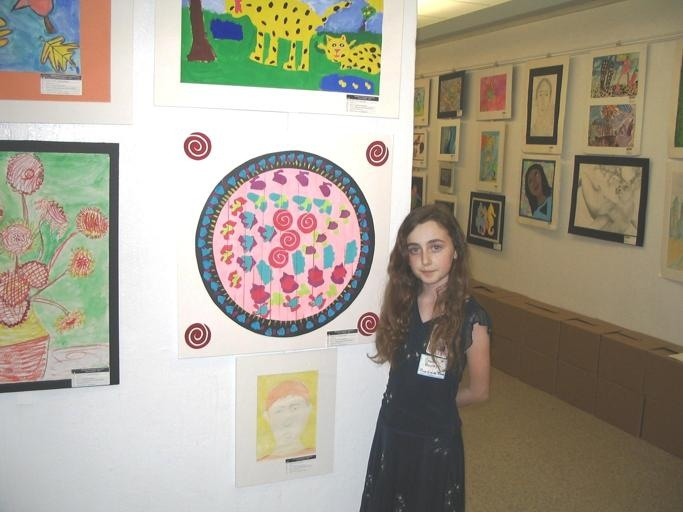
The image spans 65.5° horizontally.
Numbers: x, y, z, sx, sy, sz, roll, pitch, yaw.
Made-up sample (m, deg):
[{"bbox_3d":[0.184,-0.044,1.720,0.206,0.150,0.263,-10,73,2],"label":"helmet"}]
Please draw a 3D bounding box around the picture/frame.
[{"bbox_3d":[1.966,-0.864,5.211,0.132,2.625,2.897,-6,13,-26],"label":"picture/frame"}]
